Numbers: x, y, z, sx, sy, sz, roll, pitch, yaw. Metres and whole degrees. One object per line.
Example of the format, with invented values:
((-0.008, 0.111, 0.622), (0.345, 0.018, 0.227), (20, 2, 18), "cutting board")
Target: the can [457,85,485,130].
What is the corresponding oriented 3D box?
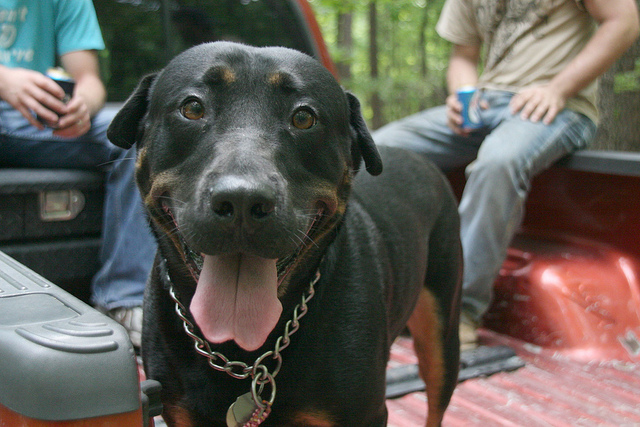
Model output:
((0.994, -0.693, 4.374), (0.171, 0.277, 0.107), (-6, 24, -10), "can")
